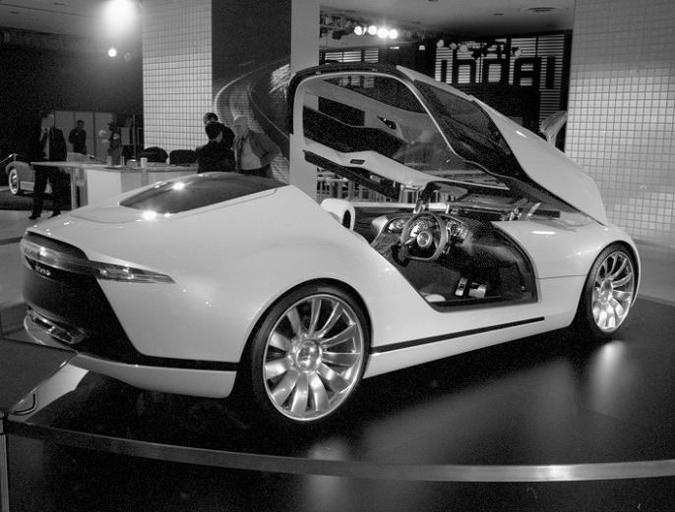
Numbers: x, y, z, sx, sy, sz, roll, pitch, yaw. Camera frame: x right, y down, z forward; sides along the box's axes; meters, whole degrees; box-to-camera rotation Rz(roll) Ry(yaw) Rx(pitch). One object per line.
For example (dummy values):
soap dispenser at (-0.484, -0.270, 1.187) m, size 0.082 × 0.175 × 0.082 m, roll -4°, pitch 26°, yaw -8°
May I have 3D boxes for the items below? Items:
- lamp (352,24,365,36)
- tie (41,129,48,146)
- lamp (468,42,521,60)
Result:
lamp at (0.562, -5.746, 12.444) m, size 0.185 × 0.211 × 0.468 m, roll 7°, pitch 13°, yaw 28°
tie at (-4.829, -1.957, 8.047) m, size 0.093 × 0.187 × 0.042 m, roll 7°, pitch 5°, yaw -29°
lamp at (4.299, -5.756, 13.660) m, size 1.027 × 0.339 × 0.613 m, roll 6°, pitch 21°, yaw 3°
